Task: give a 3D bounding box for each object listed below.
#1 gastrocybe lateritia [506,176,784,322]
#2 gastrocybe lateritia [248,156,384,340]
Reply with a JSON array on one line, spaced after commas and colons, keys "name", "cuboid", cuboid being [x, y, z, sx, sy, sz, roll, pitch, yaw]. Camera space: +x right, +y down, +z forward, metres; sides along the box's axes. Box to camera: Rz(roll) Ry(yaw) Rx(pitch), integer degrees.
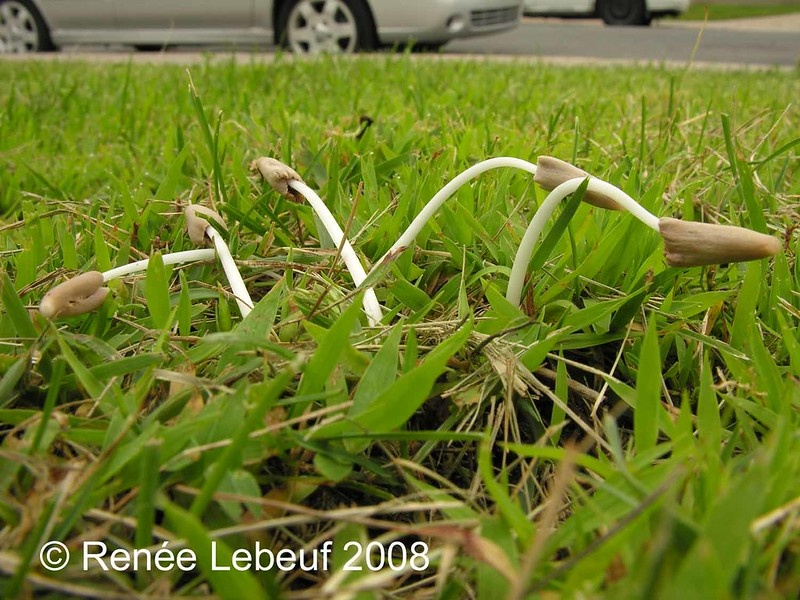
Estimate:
[{"name": "gastrocybe lateritia", "cuboid": [0.233, -0.030, 0.707, 0.262, 0.169, 0.032, 22, 31, 34]}, {"name": "gastrocybe lateritia", "cuboid": [-0.087, -0.070, 0.872, 0.151, 0.233, 0.189, -4, 9, -18]}]
